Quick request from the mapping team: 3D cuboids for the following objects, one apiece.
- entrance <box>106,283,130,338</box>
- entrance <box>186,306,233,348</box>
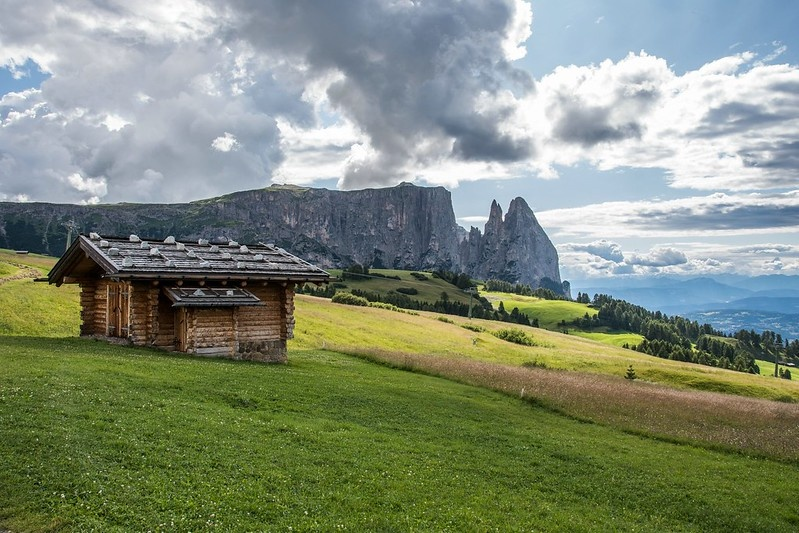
[{"bbox_3d":[-19.224,3.024,42.636,3.831,4.618,0.688,1,-1,43],"label":"entrance"},{"bbox_3d":[-12.940,4.230,42.523,3.195,2.550,0.456,4,1,-43],"label":"entrance"}]
